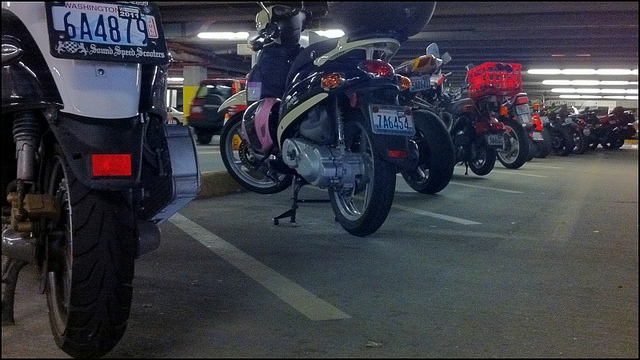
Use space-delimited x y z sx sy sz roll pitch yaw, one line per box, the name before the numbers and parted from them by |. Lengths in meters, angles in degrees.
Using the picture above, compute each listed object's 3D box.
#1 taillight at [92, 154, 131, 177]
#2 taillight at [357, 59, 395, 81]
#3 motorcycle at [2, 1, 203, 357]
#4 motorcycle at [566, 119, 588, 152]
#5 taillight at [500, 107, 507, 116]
taillight | -1.355 -0.096 3.003 0.218 0.134 0.051 -2 15 -14
taillight | 0.658 -1.232 5.222 0.447 0.232 0.219 -4 15 -24
motorcycle | -1.686 -0.017 3.268 1.401 2.331 0.915 3 14 3
motorcycle | 10.739 -1.882 19.260 0.498 1.214 1.395 2 9 17
taillight | 4.333 -1.621 10.965 0.163 0.156 0.284 0 10 5
